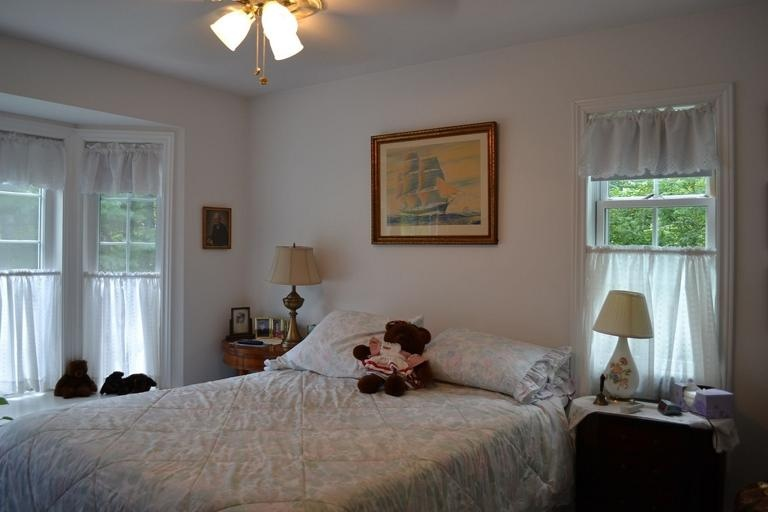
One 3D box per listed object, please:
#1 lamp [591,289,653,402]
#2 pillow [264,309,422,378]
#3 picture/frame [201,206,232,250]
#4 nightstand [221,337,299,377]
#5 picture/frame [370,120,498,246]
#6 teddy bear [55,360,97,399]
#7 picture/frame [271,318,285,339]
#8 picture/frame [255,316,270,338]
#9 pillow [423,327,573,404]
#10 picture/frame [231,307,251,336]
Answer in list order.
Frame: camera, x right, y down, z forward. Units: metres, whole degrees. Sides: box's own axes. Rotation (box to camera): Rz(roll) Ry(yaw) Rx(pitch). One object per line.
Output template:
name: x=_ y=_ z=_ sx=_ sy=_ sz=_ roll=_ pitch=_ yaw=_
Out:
lamp: x=1.564 y=0.590 z=3.659 sx=0.358 sy=0.724 sz=0.197 roll=1 pitch=2 yaw=21
pillow: x=-0.300 y=0.637 z=4.346 sx=0.924 sy=0.277 sz=0.983 roll=-2 pitch=19 yaw=20
picture/frame: x=-1.546 y=-0.255 z=5.104 sx=0.292 sy=0.386 sz=0.016 roll=2 pitch=3 yaw=9
nightstand: x=-1.169 y=0.843 z=4.753 sx=0.413 sy=0.262 sz=0.389 roll=2 pitch=5 yaw=18
picture/frame: x=0.432 y=-0.589 z=4.442 sx=1.065 sy=0.846 sz=0.072 roll=-2 pitch=-5 yaw=27
teddy bear: x=-2.635 y=1.047 z=4.748 sx=0.291 sy=0.291 sz=0.230 roll=9 pitch=-2 yaw=-40
picture/frame: x=-0.973 y=0.660 z=5.047 sx=0.157 sy=0.196 sz=0.020 roll=-4 pitch=-9 yaw=28
picture/frame: x=-1.127 y=0.659 z=5.100 sx=0.162 sy=0.201 sz=0.021 roll=10 pitch=-24 yaw=-33
pillow: x=0.763 y=0.738 z=4.017 sx=0.747 sy=0.292 sz=0.987 roll=-10 pitch=15 yaw=-43
picture/frame: x=-1.348 y=0.613 z=5.162 sx=0.247 sy=0.318 sz=0.046 roll=3 pitch=-3 yaw=-40
